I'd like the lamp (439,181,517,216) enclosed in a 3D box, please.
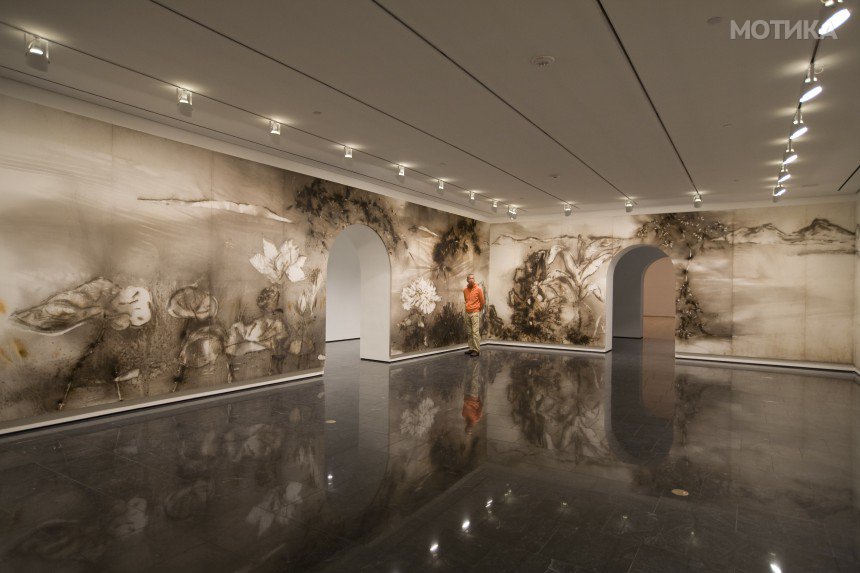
[{"bbox_3d":[1.454,-2.294,13.239,1.014,0.694,4.320,3,6,28],"label":"lamp"}]

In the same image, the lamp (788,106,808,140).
[{"bbox_3d":[5.610,-2.521,7.525,0.206,0.470,0.250,-10,15,-40],"label":"lamp"}]

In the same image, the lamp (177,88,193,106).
[{"bbox_3d":[-3.544,-2.697,7.102,0.209,0.278,0.530,-2,6,-25],"label":"lamp"}]

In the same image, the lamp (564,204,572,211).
[{"bbox_3d":[3.895,-2.210,13.897,0.174,0.190,0.175,0,-4,-10],"label":"lamp"}]

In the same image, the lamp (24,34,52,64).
[{"bbox_3d":[-4.745,-2.865,5.955,0.222,0.323,0.387,-4,7,-38],"label":"lamp"}]

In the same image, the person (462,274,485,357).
[{"bbox_3d":[1.201,0.805,13.812,0.480,2.211,1.282,1,5,5],"label":"person"}]

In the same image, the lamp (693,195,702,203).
[{"bbox_3d":[6.853,-2.236,12.644,0.155,0.185,0.148,5,-1,-41],"label":"lamp"}]

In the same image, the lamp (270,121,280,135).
[{"bbox_3d":[-2.557,-2.619,8.077,0.113,0.239,0.240,1,4,20],"label":"lamp"}]
